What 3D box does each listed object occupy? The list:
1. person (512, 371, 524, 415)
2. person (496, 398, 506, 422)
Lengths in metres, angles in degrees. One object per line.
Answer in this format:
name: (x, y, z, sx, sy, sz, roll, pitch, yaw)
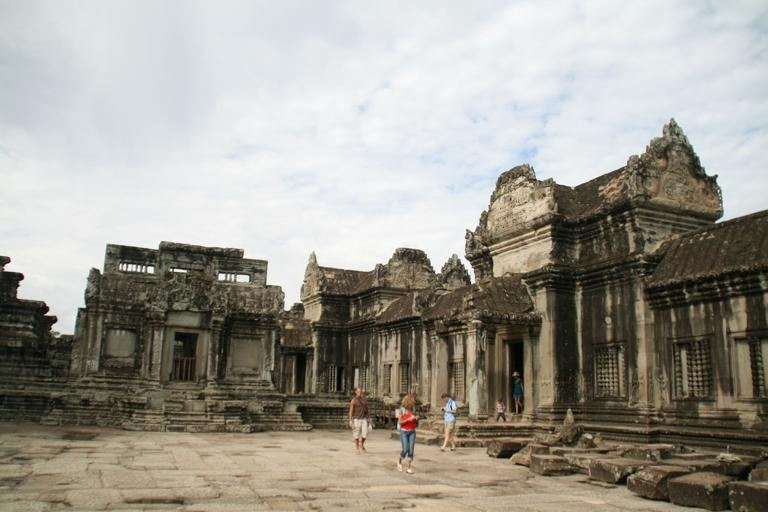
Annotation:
person: (4.801, 4.869, 20.747, 0.356, 1.501, 0.723, 0, -16, 9)
person: (4.055, 5.327, 20.027, 0.309, 0.793, 1.333, -1, -17, 11)
